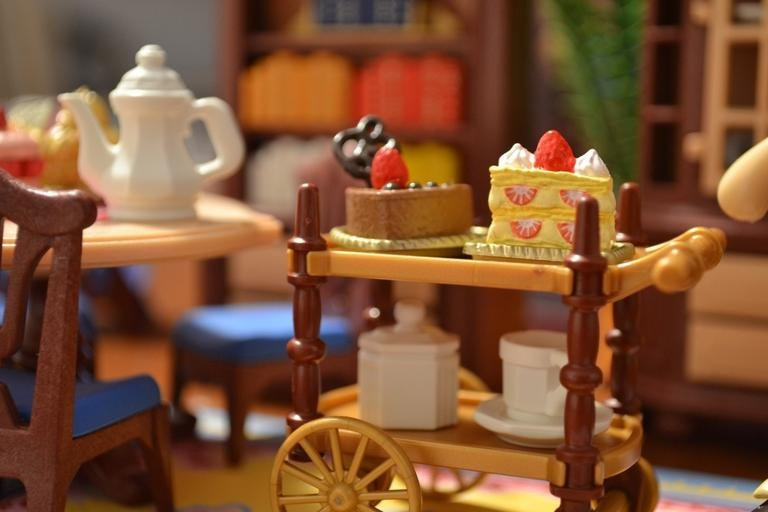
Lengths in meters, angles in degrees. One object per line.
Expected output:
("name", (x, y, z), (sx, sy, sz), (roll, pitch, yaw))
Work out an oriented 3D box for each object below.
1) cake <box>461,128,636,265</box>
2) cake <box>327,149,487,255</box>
("cake", (0.373, -0.140, 1.850), (0.344, 0.276, 0.217), (3, 3, 9))
("cake", (0.087, -0.117, 1.960), (0.397, 0.292, 0.394), (-2, 6, -19))
